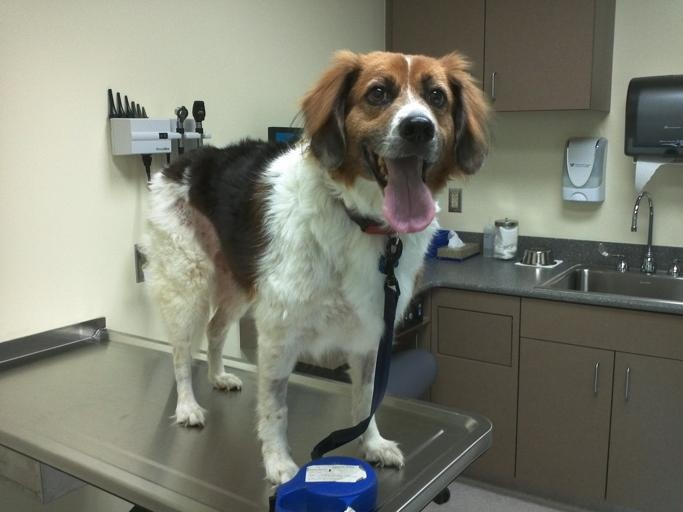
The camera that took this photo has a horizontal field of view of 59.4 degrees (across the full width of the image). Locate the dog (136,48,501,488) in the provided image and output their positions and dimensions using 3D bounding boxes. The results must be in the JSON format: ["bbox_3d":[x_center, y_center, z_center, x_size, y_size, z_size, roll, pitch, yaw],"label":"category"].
[{"bbox_3d":[-0.209,0.025,1.961,1.255,1.230,0.475,6,8,41],"label":"dog"}]

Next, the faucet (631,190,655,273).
[{"bbox_3d":[1.763,-0.136,3.466,0.150,0.460,0.199,8,15,29],"label":"faucet"}]
